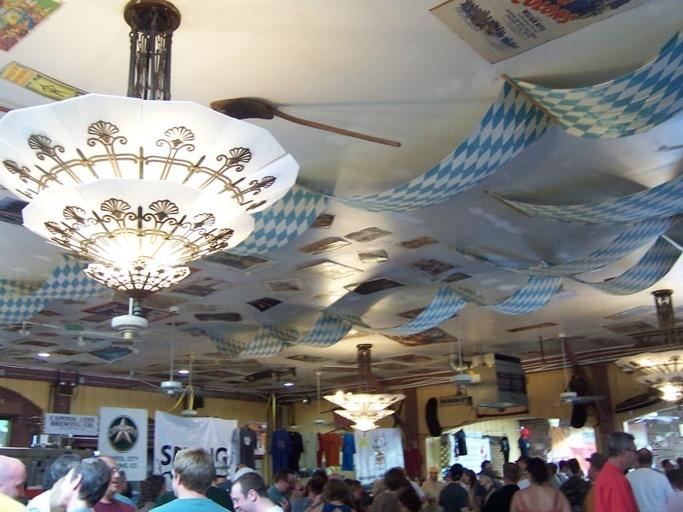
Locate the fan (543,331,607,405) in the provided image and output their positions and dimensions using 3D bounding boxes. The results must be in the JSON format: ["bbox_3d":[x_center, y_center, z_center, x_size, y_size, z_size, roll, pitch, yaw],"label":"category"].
[{"bbox_3d":[5.229,2.567,11.714,0.882,1.413,2.493,-14,-23,22],"label":"fan"}]
